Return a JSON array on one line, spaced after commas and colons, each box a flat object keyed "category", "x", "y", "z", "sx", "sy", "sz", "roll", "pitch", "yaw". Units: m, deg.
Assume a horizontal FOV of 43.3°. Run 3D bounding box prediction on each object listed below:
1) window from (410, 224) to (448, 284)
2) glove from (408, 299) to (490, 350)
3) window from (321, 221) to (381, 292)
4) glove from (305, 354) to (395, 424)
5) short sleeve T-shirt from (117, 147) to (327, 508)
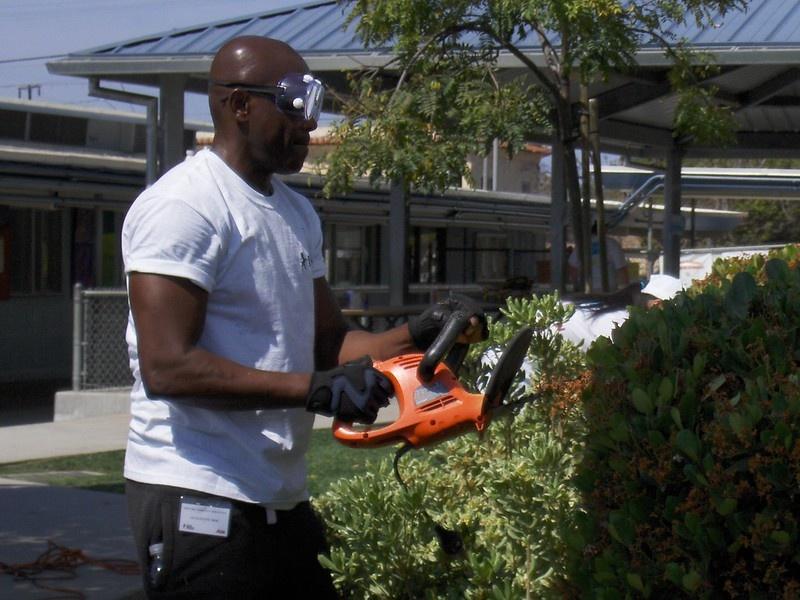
[{"category": "window", "x": 0.486, "y": -0.855, "z": 18.253, "sx": 0.124, "sy": 1.240, "sz": 1.026, "roll": -2, "pitch": -3, "yaw": 41}, {"category": "glove", "x": 0.158, "y": 0.081, "z": 3.420, "sx": 0.221, "sy": 0.080, "sz": 0.169, "roll": -21, "pitch": 25, "yaw": 1}, {"category": "window", "x": -0.849, "y": -0.704, "z": 17.053, "sx": 1.109, "sy": 1.148, "sz": 0.891, "roll": 0, "pitch": 0, "yaw": 7}, {"category": "glove", "x": -0.166, "y": 0.277, "z": 3.134, "sx": 0.210, "sy": 0.192, "sz": 0.087, "roll": 11, "pitch": -29, "yaw": 17}, {"category": "short sleeve T-shirt", "x": -0.581, "y": 0.098, "z": 3.381, "sx": 0.711, "sy": 1.222, "sz": 0.411, "roll": 2, "pitch": -2, "yaw": -17}]
